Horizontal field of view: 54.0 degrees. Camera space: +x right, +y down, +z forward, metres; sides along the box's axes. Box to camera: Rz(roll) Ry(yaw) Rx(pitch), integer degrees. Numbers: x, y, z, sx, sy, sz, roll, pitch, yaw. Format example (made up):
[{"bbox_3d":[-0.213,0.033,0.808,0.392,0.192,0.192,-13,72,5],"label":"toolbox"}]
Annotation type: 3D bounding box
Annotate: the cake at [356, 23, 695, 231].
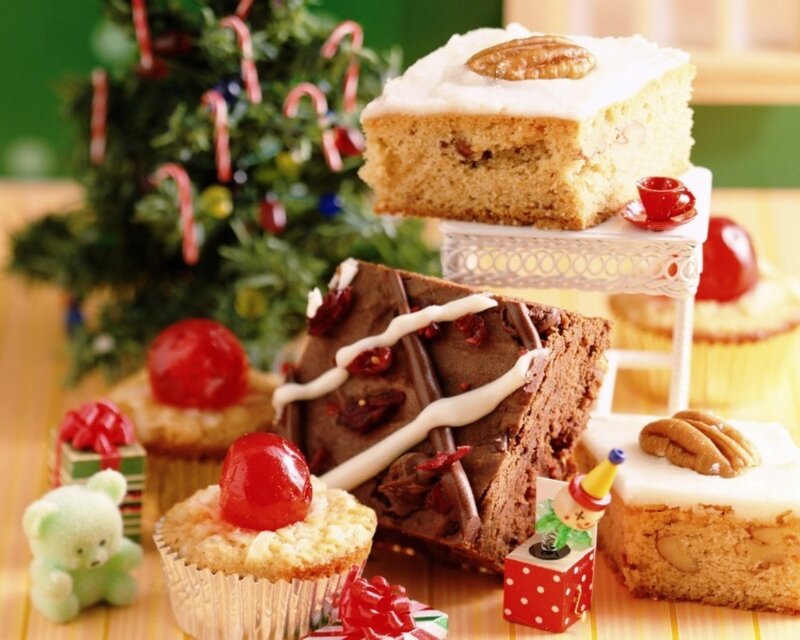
[{"bbox_3d":[0.320,-0.420,1.762,0.551,0.338,0.544,-17,20,-37],"label":"cake"}]
